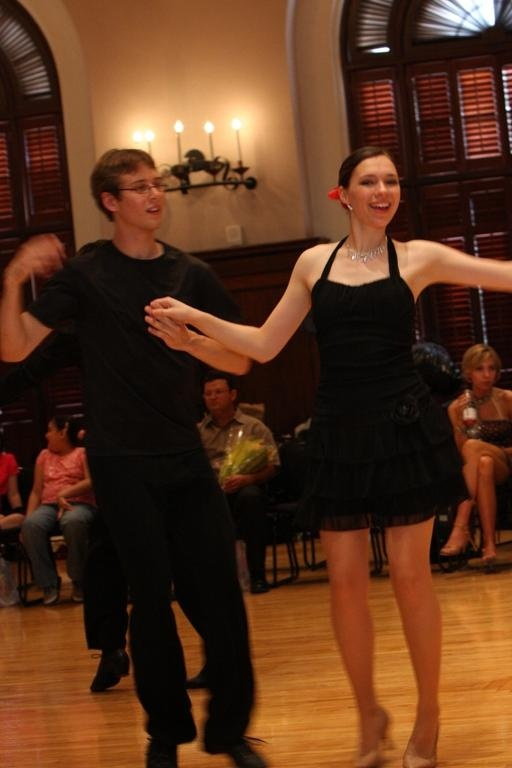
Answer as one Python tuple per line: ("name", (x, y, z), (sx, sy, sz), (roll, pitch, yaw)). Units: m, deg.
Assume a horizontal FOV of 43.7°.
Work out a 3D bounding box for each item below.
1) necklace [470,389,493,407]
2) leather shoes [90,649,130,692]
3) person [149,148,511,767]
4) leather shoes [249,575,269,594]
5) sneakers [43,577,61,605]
("necklace", (1.547, 0.119, 4.367), (0.121, 0.076, 0.153), (-1, -26, 2))
("leather shoes", (-0.573, 1.133, 2.534), (0.079, 0.129, 0.240), (-5, -35, -42))
("person", (0.239, 0.137, 1.390), (0.651, 1.284, 0.351), (-6, 6, 26))
("leather shoes", (0.018, 1.279, 4.073), (0.059, 0.116, 0.163), (-2, -2, 37))
("sneakers", (-1.440, 1.461, 4.488), (0.076, 0.229, 0.097), (-3, -44, 9))
